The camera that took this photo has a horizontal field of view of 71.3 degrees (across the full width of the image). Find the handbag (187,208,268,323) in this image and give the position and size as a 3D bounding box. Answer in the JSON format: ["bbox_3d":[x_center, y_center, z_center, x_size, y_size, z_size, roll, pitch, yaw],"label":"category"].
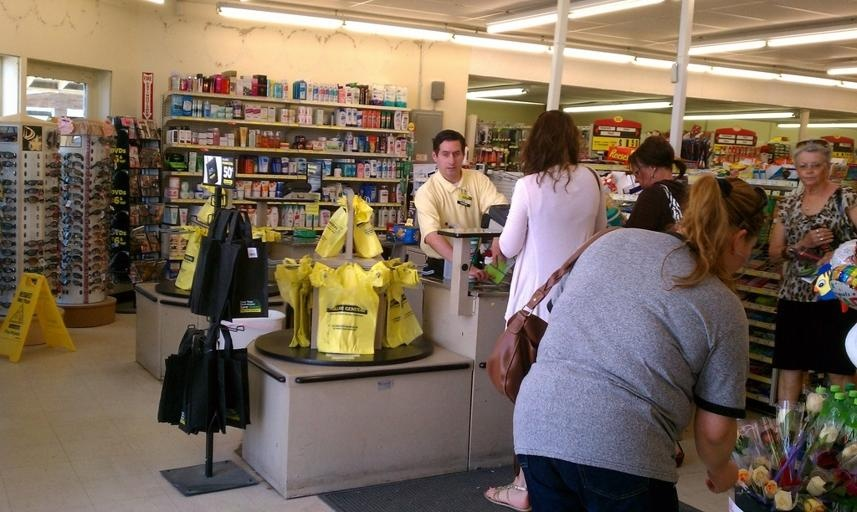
[{"bbox_3d":[-1.478,0.083,4.385,0.527,0.838,0.306,-3,13,-20],"label":"handbag"}]

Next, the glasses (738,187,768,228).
[{"bbox_3d":[1.401,-0.252,2.600,0.111,0.044,0.126,-5,41,30],"label":"glasses"}]

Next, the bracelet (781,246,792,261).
[{"bbox_3d":[3.047,-0.014,5.063,0.025,0.084,0.093,8,6,-24],"label":"bracelet"}]

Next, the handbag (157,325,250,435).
[{"bbox_3d":[-1.636,0.927,4.361,0.636,0.817,0.284,7,13,22],"label":"handbag"}]
